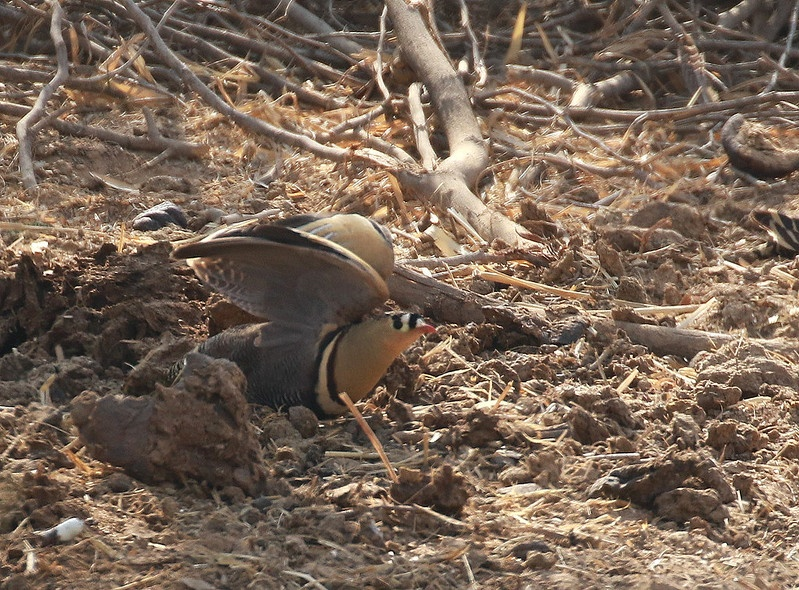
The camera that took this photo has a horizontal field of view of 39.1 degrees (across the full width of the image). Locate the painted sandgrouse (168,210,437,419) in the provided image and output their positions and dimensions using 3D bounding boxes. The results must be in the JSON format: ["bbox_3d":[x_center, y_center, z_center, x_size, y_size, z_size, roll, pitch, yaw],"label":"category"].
[{"bbox_3d":[-0.413,0.085,5.003,1.107,0.652,1.022,26,4,10],"label":"painted sandgrouse"}]
